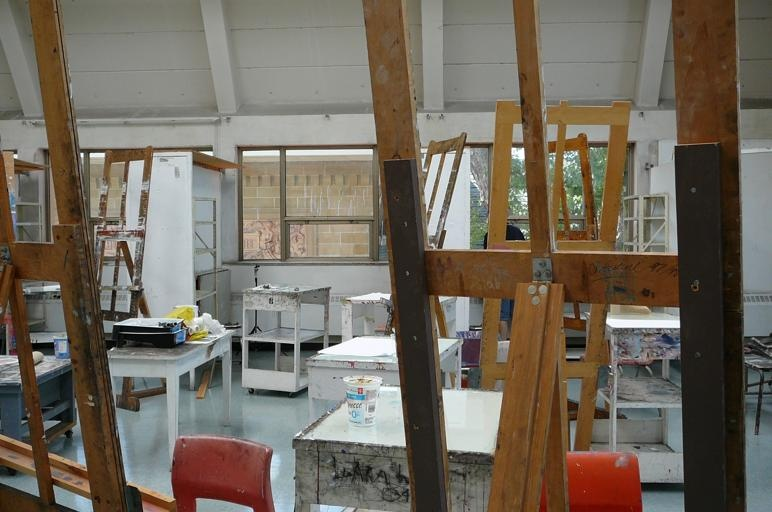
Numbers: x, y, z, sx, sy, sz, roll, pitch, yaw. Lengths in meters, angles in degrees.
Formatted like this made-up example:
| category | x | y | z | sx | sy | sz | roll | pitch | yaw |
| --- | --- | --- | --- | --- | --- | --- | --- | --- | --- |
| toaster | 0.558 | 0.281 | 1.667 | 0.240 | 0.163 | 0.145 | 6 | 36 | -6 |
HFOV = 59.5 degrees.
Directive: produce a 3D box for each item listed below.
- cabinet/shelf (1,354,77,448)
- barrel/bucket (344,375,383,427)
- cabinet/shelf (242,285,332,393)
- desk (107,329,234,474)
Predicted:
| category | x | y | z | sx | sy | sz | roll | pitch | yaw |
| --- | --- | --- | --- | --- | --- | --- | --- | --- | --- |
| cabinet/shelf | -2.636 | 1.123 | 5.085 | 0.399 | 0.639 | 0.857 | -1 | 2 | 1 |
| barrel/bucket | -0.114 | 0.716 | 3.406 | 0.199 | 0.195 | 0.201 | 0 | -4 | 0 |
| cabinet/shelf | -0.978 | 0.803 | 6.649 | 0.594 | 0.992 | 0.987 | 2 | 0 | 13 |
| desk | -1.678 | 1.093 | 5.471 | 0.641 | 0.711 | 1.566 | 0 | -2 | 7 |
